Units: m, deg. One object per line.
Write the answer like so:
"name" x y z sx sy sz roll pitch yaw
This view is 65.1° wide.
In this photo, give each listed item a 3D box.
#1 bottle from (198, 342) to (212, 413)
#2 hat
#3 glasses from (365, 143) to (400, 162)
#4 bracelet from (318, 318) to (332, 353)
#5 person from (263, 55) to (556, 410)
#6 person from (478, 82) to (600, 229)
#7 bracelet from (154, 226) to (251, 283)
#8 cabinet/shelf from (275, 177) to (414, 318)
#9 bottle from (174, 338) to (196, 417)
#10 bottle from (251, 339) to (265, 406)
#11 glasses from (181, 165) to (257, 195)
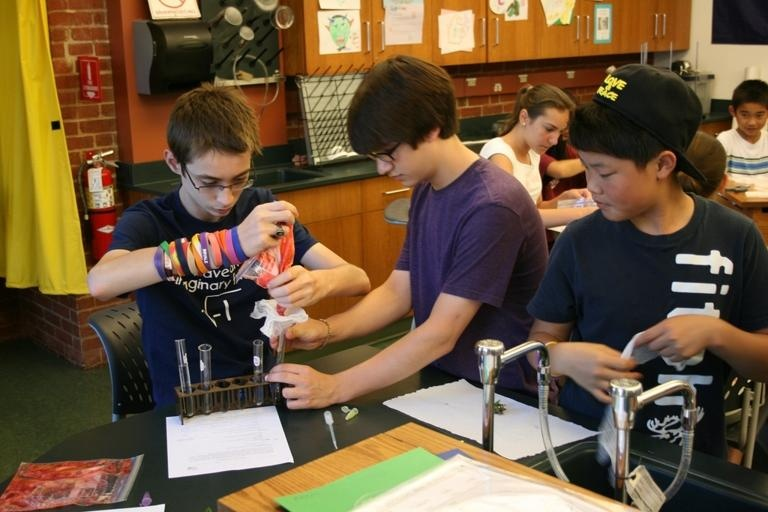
"bottle" -0.511 0.344 1.705 0.040 0.202 0.055 -7 12 -19
"hat" 0.703 -0.346 1.573 0.294 0.306 0.134 -5 12 -7
"glasses" 0.012 -0.317 1.806 0.055 0.018 0.059 -5 43 42
"bracelet" -0.191 0.266 1.967 0.019 0.075 0.073 -5 11 -9
"person" 0.121 -0.204 2.397 1.090 1.495 0.744 -6 12 -10
"person" 1.010 -0.612 3.863 0.936 0.897 0.673 13 21 28
"bracelet" -0.540 -0.004 1.733 0.199 0.092 0.156 -15 3 -12
"cabinet/shelf" -0.216 -0.090 3.000 0.795 0.777 0.403 -17 24 -40
"bottle" -0.579 0.337 1.713 0.045 0.218 0.124 -8 12 -20
"bottle" -0.369 0.331 1.735 0.038 0.196 0.065 -6 12 -12
"glasses" -0.535 -0.247 1.918 0.198 0.095 0.114 -10 14 -27
